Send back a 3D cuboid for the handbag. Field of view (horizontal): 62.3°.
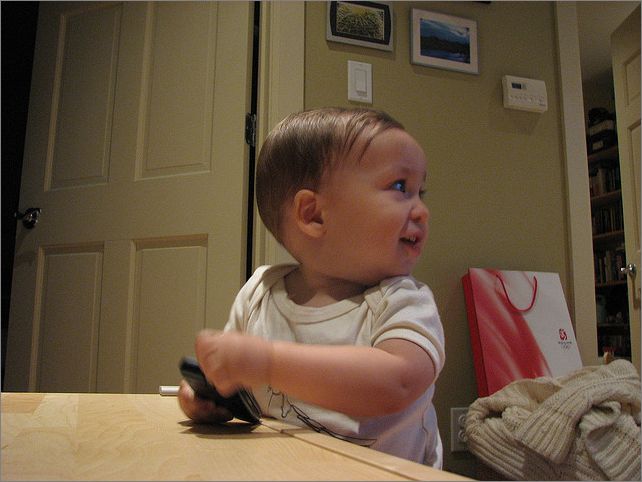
[{"bbox_3d":[0.630,0.302,1.700,0.357,0.454,0.141,2,-27,-19],"label":"handbag"}]

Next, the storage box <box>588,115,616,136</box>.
[{"bbox_3d":[2.327,-0.938,4.418,0.084,0.137,0.258,2,0,-16],"label":"storage box"}]

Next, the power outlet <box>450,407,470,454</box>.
[{"bbox_3d":[0.464,0.599,1.677,0.096,0.018,0.175,-11,26,21],"label":"power outlet"}]

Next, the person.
[{"bbox_3d":[-0.019,0.156,1.488,0.628,1.227,0.611,0,-10,-11],"label":"person"}]

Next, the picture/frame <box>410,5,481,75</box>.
[{"bbox_3d":[0.428,-0.690,1.856,0.242,0.192,0.009,3,-9,-17],"label":"picture/frame"}]

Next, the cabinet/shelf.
[{"bbox_3d":[2.335,0.079,4.298,0.258,1.815,0.597,2,0,5],"label":"cabinet/shelf"}]

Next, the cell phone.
[{"bbox_3d":[-0.160,0.246,0.864,0.109,0.027,0.114,19,-25,40],"label":"cell phone"}]
